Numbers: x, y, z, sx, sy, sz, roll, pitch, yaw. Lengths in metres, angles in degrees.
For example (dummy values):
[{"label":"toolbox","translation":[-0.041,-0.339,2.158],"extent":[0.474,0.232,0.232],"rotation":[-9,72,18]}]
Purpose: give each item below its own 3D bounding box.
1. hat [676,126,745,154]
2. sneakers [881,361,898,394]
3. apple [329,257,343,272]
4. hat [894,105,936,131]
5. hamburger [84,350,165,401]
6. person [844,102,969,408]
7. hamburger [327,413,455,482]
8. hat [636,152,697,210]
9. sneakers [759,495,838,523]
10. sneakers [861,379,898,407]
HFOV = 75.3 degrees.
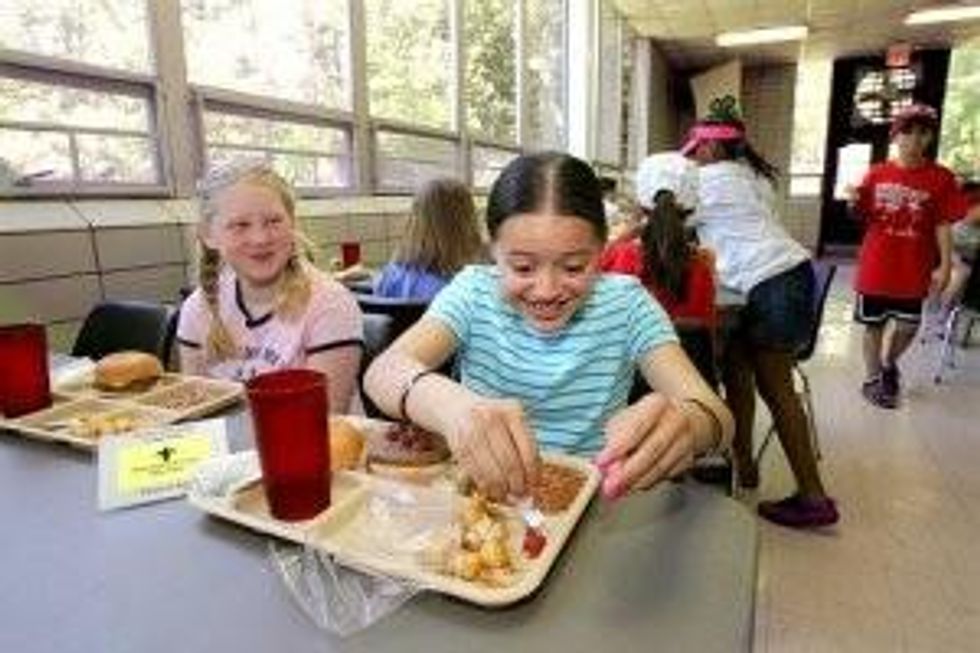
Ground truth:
[{"label":"hat","translation":[1.025,-0.881,2.973],"extent":[0.289,0.116,0.183],"rotation":[-6,7,15]},{"label":"sneakers","translation":[2.443,0.316,3.895],"extent":[0.067,0.180,0.074],"rotation":[-5,-24,3]},{"label":"apple","translation":[-0.861,-0.350,3.600],"extent":[0.070,0.089,0.076],"rotation":[0,-24,-8]},{"label":"hat","translation":[2.435,-1.202,3.642],"extent":[0.212,0.152,0.312],"rotation":[8,17,31]},{"label":"hamburger","translation":[-1.029,0.133,1.789],"extent":[0.190,0.096,0.173],"rotation":[5,7,27]},{"label":"person","translation":[2.422,-0.436,3.789],"extent":[0.583,1.699,0.602],"rotation":[7,18,28]},{"label":"hamburger","translation":[-0.221,0.282,1.442],"extent":[0.214,0.065,0.159],"rotation":[7,16,23]},{"label":"hat","translation":[0.765,-0.577,2.709],"extent":[0.238,0.245,0.328],"rotation":[-3,-29,19]},{"label":"sneakers","translation":[1.287,0.769,2.690],"extent":[0.314,0.133,0.126],"rotation":[-1,0,25]},{"label":"sneakers","translation":[2.318,0.398,3.798],"extent":[0.098,0.096,0.238],"rotation":[-6,8,1]}]
